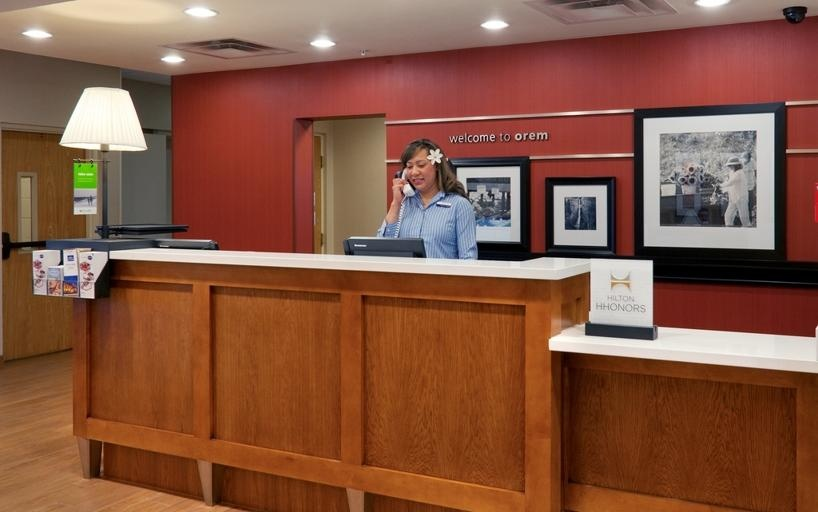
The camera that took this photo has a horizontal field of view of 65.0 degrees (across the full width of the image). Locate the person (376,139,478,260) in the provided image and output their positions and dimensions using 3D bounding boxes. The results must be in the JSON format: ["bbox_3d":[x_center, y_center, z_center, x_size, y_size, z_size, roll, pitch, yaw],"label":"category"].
[{"bbox_3d":[0.159,-0.450,5.073,0.729,0.914,0.354,0,4,3],"label":"person"}]

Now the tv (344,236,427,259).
[{"bbox_3d":[-0.183,-0.061,4.339,0.598,0.123,0.152,1,6,21],"label":"tv"}]

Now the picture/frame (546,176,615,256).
[{"bbox_3d":[1.769,-0.421,6.486,0.804,0.877,0.070,1,0,25],"label":"picture/frame"}]

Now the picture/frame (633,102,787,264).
[{"bbox_3d":[2.908,-0.704,6.058,1.537,1.624,0.115,1,1,20],"label":"picture/frame"}]

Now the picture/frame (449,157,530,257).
[{"bbox_3d":[0.838,-0.539,6.768,0.972,0.972,0.090,-3,1,-28],"label":"picture/frame"}]

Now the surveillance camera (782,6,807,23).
[{"bbox_3d":[3.376,-2.087,5.620,0.143,0.094,0.144,1,-5,5],"label":"surveillance camera"}]
